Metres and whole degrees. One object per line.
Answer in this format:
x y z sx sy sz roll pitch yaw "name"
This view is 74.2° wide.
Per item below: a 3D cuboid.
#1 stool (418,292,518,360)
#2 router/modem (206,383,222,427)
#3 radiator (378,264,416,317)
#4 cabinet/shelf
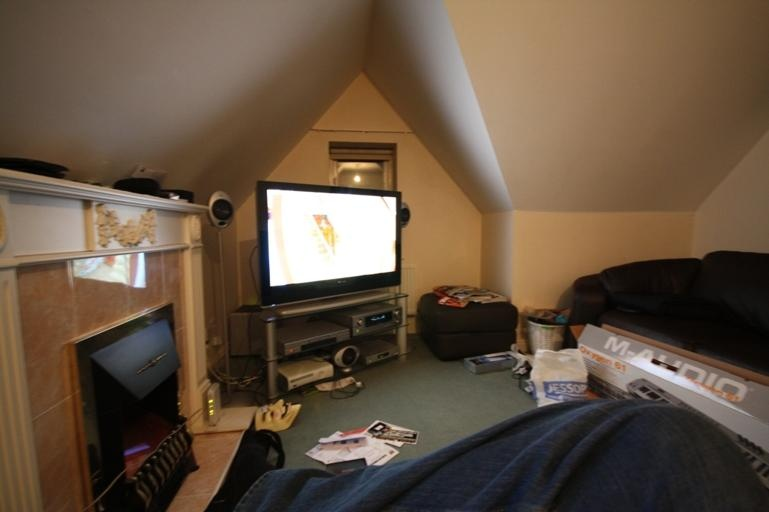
0.722 0.602 4.437 0.691 0.458 0.548 -4 7 -11 "stool"
-1.125 0.966 3.345 0.076 0.231 0.164 -4 7 -6 "router/modem"
0.141 0.346 4.948 0.337 0.499 0.315 -3 -7 31 "radiator"
-0.384 0.626 3.940 1.240 0.622 0.323 -7 8 -34 "cabinet/shelf"
